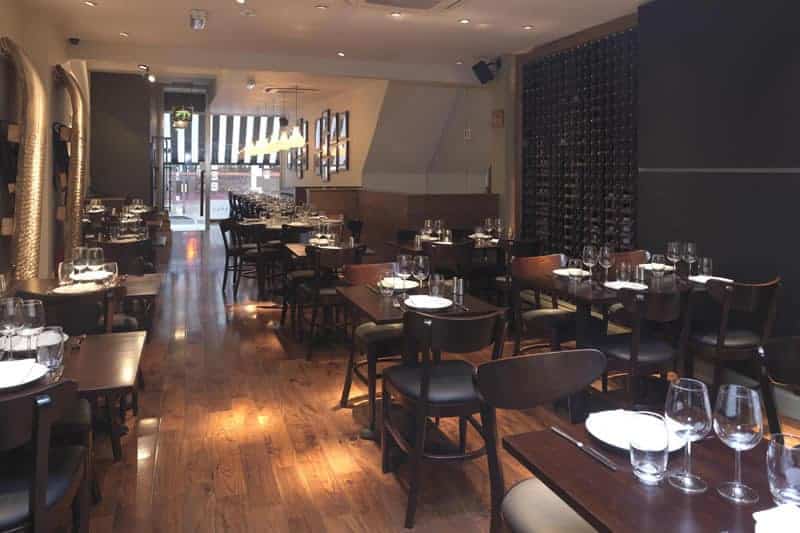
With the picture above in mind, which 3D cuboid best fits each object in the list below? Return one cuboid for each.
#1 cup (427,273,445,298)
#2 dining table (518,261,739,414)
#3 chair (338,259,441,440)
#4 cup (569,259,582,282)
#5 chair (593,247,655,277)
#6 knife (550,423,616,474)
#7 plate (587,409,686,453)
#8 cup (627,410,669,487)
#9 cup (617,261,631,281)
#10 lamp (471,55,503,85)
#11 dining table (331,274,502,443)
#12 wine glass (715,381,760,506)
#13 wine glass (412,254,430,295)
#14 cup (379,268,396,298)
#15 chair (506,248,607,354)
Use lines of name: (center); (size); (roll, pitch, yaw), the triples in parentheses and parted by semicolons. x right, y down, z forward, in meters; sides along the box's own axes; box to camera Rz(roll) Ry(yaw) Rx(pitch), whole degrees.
cup: (0.268, 0.146, 4.341); (0.149, 0.158, 0.115); (-8, 13, -40)
dining table: (1.741, 0.501, 4.796); (1.356, 1.319, 1.294); (-2, 6, -14)
chair: (-0.353, 0.578, 4.952); (1.062, 1.567, 1.140); (2, 0, -13)
cup: (1.501, 0.045, 5.072); (0.137, 0.237, 0.154); (-2, 1, 16)
chair: (2.041, -0.025, 5.310); (0.214, 0.320, 0.212); (-3, 17, -20)
knife: (0.840, 0.820, 2.693); (0.078, 0.024, 0.487); (-11, 12, -12)
plate: (1.024, 0.759, 2.724); (0.235, 0.027, 0.239); (5, 12, 33)
cup: (1.086, 0.777, 2.537); (0.170, 0.289, 0.161); (0, 7, 0)
cup: (1.853, 0.052, 4.852); (0.121, 0.182, 0.123); (-2, 4, 0)
lamp: (1.255, -2.802, 8.455); (0.322, 0.309, 0.474); (-2, 7, -12)
dining table: (-0.052, 0.669, 4.812); (0.943, 0.995, 1.195); (1, 4, -27)
wine glass: (1.469, 0.734, 2.545); (0.185, 0.458, 0.332); (4, 8, 30)
wine glass: (0.163, 0.042, 4.583); (0.157, 0.275, 0.160); (-10, 21, -27)
cup: (-0.107, 0.126, 4.527); (0.115, 0.200, 0.159); (-1, 7, -4)
chair: (1.373, 0.421, 5.192); (0.674, 0.942, 0.700); (-9, 11, -43)
